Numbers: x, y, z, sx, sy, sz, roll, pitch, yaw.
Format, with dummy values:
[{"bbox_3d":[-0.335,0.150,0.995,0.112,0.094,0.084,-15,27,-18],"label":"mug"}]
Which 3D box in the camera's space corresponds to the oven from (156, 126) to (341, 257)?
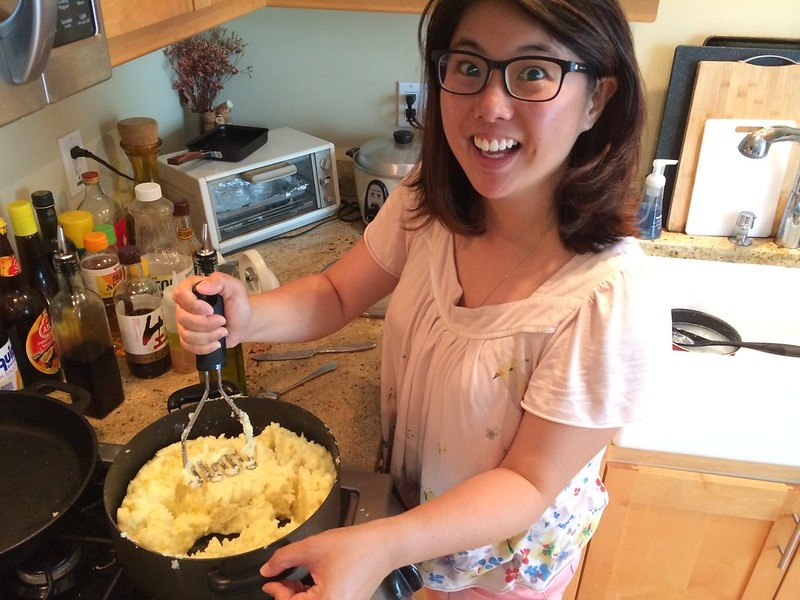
[{"bbox_3d":[-0.448,-0.313,1.818,0.466,0.230,0.320,-28,42,-36],"label":"oven"}]
